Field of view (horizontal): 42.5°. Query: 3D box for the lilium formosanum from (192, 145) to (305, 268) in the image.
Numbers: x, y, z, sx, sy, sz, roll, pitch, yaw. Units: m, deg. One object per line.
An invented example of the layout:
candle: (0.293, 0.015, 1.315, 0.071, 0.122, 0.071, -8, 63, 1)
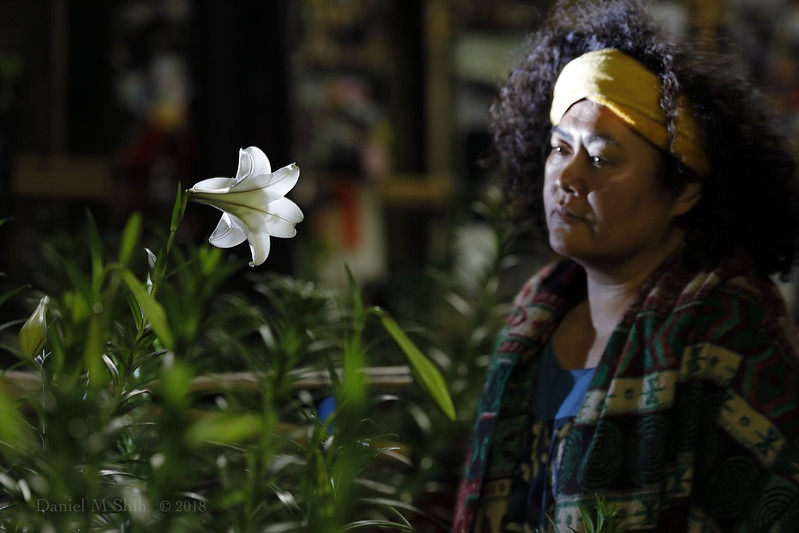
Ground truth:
lilium formosanum: (-0.263, -0.102, 1.756, 0.191, 0.202, 0.059, 4, -7, -11)

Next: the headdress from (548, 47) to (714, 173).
headdress: (0.437, -0.304, 1.925, 0.251, 0.114, 0.201, 36, -7, -20)
